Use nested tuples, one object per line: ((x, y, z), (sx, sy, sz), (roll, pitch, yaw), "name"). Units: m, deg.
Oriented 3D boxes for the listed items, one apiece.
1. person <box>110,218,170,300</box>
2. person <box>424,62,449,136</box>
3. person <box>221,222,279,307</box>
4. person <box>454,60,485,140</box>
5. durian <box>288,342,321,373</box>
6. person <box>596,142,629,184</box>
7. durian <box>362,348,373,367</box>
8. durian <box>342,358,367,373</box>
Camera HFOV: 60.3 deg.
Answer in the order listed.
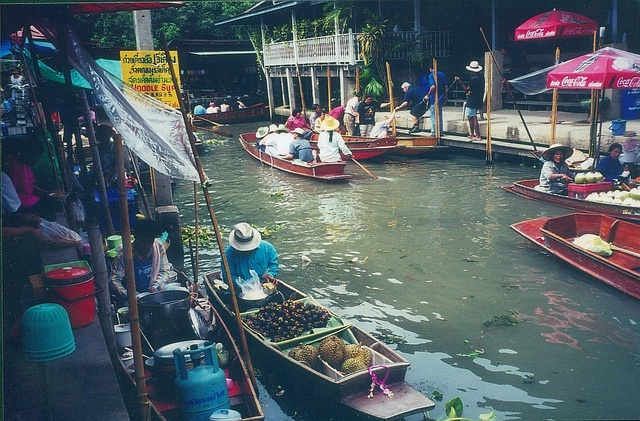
((-3.152, 0.943, 9.918), (0.853, 1.647, 1.205), (8, -8, -15), "person")
((4.533, -4.351, 21.808), (1.040, 2.857, 0.855), (-6, 11, -26), "person")
((-1.313, 1.107, 10.588), (1.032, 1.801, 0.944), (4, 24, 12), "person")
((5.671, -4.110, 20.488), (1.063, 3.198, 1.118), (1, -8, -1), "person")
((-0.257, 2.361, 8.932), (0.359, 0.358, 0.435), (4, 4, 44), "durian")
((7.750, -1.237, 14.535), (0.594, 1.046, 0.582), (1, 0, 21), "person")
((0.748, 2.324, 8.769), (0.179, 0.238, 0.109), (2, -12, -14), "durian")
((0.517, 2.424, 8.598), (0.286, 0.223, 0.244), (-4, 21, 0), "durian")
